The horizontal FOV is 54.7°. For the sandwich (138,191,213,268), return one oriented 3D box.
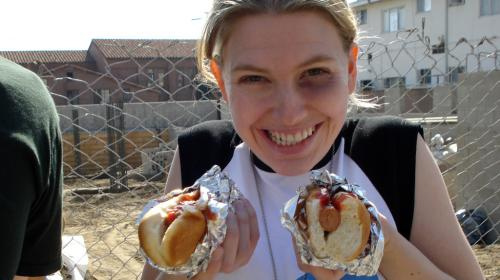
[{"bbox_3d":[-0.719,0.721,4.543,0.411,0.851,0.368,0,1,-19],"label":"sandwich"}]
